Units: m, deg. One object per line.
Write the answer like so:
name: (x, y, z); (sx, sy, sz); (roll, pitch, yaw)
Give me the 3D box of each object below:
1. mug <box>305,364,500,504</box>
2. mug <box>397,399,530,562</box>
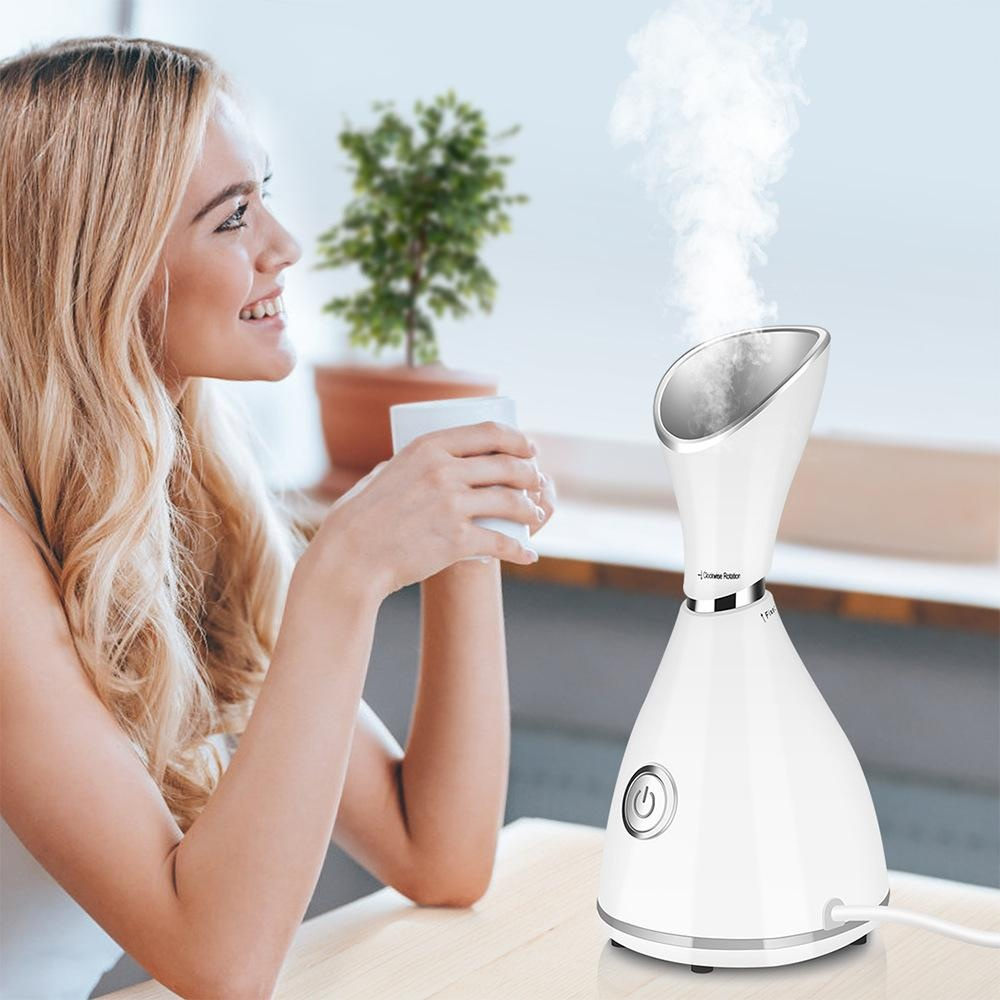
mug: (-0.157, -0.065, 1.862); (0.244, 0.206, 0.242); (1, -3, -41)
mug: (-0.035, -0.008, 0.767); (0.100, 0.121, 0.065); (-2, 0, -1)
